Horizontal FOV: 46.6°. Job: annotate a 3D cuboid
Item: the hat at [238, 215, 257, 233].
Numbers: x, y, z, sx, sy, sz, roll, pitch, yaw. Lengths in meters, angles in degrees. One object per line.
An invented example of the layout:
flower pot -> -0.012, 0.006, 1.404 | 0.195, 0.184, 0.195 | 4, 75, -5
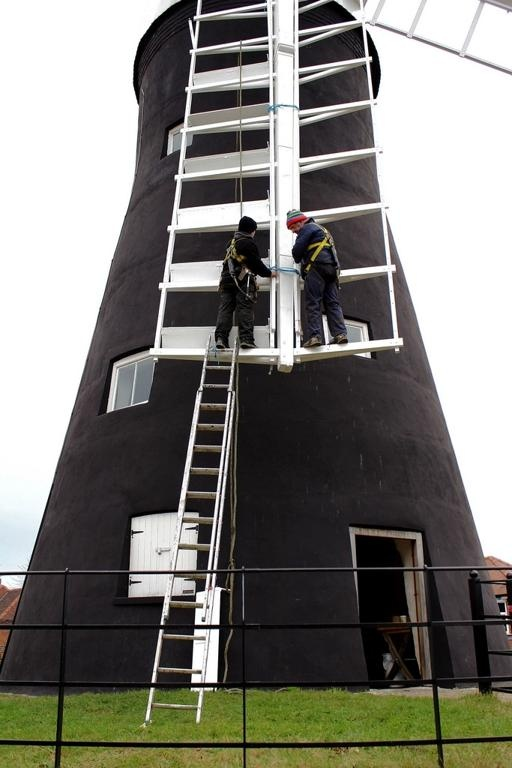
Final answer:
hat -> -0.106, -1.781, 6.614 | 0.156, 0.202, 0.213 | 5, 9, 11

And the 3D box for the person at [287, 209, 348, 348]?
person -> 0.643, -1.136, 6.338 | 0.474, 1.655, 0.697 | -19, -37, 32

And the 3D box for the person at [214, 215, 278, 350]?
person -> -0.132, -0.957, 6.407 | 0.493, 1.261, 0.650 | 18, -34, -25
